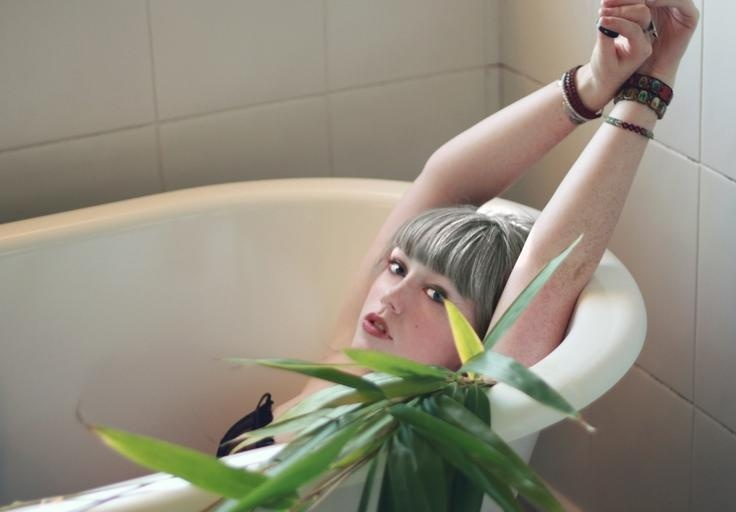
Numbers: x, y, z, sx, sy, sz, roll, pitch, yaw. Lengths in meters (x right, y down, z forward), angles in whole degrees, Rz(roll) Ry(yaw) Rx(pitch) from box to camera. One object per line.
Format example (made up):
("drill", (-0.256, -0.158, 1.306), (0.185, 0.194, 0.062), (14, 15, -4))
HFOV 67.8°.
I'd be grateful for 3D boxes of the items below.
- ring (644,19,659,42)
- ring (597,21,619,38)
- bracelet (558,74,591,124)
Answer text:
("ring", (0.414, -0.324, 0.800), (0.007, 0.033, 0.023), (2, 33, 37))
("ring", (0.346, -0.322, 0.788), (0.024, 0.011, 0.019), (22, 3, -23))
("bracelet", (0.334, -0.257, 0.907), (0.023, 0.061, 0.069), (-13, -31, 27))
